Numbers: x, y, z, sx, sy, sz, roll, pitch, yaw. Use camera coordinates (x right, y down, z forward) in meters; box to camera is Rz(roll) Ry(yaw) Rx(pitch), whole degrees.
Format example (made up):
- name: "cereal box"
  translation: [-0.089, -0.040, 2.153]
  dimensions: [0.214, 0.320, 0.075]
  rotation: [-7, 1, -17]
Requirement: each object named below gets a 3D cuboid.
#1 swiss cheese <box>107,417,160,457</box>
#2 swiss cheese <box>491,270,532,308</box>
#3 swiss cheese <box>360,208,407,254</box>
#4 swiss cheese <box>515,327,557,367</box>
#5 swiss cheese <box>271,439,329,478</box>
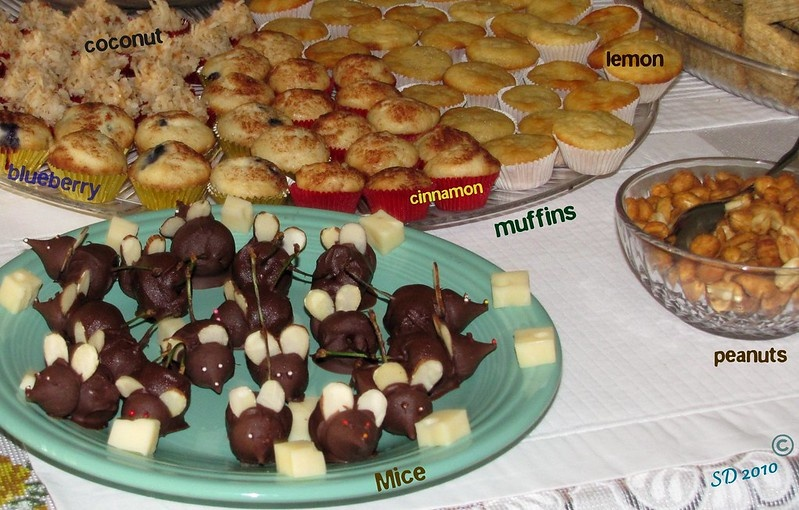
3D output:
- name: "swiss cheese"
  translation: [-0.582, 0.401, 1.496]
  dimensions: [0.101, 0.068, 0.088]
  rotation: [6, 44, 7]
- name: "swiss cheese"
  translation: [0.291, 0.089, 1.791]
  dimensions: [0.106, 0.041, 0.095]
  rotation: [-5, 71, 12]
- name: "swiss cheese"
  translation: [-0.044, -0.051, 1.988]
  dimensions: [0.113, 0.069, 0.146]
  rotation: [-30, 52, -26]
- name: "swiss cheese"
  translation: [0.329, 0.225, 1.652]
  dimensions: [0.101, 0.065, 0.093]
  rotation: [-4, 9, -2]
- name: "swiss cheese"
  translation: [-0.213, 0.427, 1.447]
  dimensions: [0.079, 0.051, 0.074]
  rotation: [-1, 5, -20]
